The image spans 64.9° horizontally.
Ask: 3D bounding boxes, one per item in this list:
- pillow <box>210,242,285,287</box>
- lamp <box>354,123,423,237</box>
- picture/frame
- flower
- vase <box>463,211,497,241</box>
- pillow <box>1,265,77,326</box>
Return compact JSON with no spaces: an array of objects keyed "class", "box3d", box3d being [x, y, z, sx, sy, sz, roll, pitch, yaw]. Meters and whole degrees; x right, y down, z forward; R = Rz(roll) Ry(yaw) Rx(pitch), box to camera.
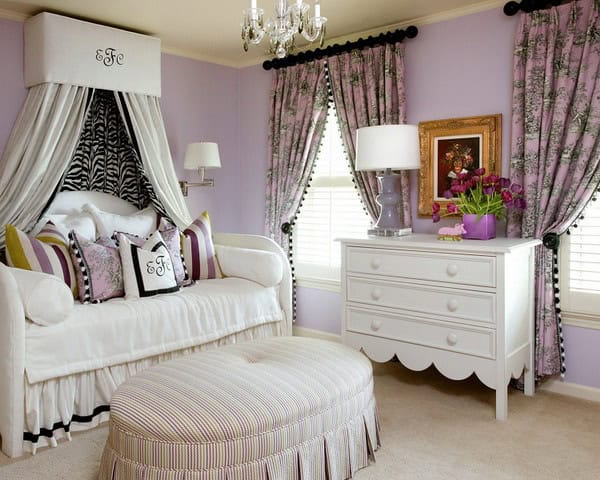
[{"class":"pillow","box3d":[-0.362,0.158,3.707,0.722,0.264,0.337,7,21,21]},{"class":"lamp","box3d":[0.636,-0.447,3.480,0.430,0.803,0.631,1,8,10]},{"class":"picture/frame","box3d":[1.196,-0.546,3.437,0.074,1.061,0.748,2,-3,-44]},{"class":"flower","box3d":[1.202,-0.298,3.171,0.460,0.277,0.377,3,-8,-37]},{"class":"vase","box3d":[1.184,-0.076,3.137,0.164,0.191,0.172,-2,-4,34]},{"class":"pillow","box3d":[-1.460,0.328,2.595,0.345,0.287,0.208,2,8,12]}]
